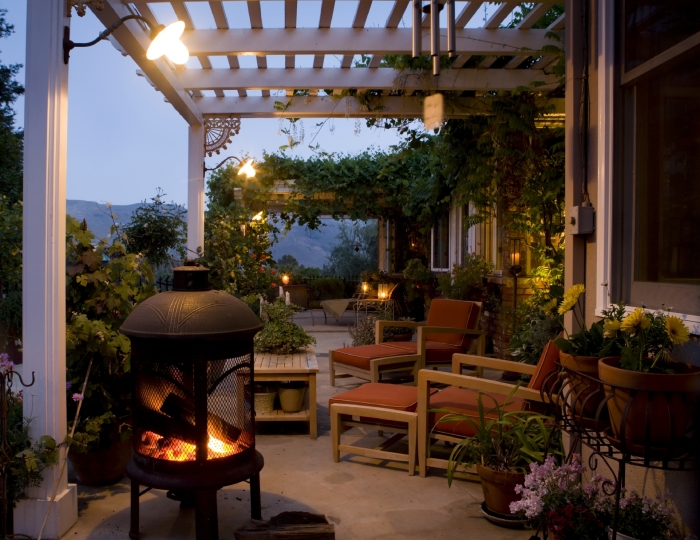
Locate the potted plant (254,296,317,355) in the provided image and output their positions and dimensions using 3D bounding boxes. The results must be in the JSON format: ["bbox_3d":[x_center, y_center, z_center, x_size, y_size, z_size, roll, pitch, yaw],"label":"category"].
[{"bbox_3d":[-0.645,0.533,6.203,0.426,0.376,0.448,3,7,36],"label":"potted plant"}]

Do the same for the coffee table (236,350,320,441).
[{"bbox_3d":[-0.558,1.074,5.659,0.541,0.607,0.769,0,6,-9],"label":"coffee table"}]

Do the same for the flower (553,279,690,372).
[{"bbox_3d":[1.287,0.270,3.034,0.486,0.314,0.408,-2,-3,14],"label":"flower"}]
